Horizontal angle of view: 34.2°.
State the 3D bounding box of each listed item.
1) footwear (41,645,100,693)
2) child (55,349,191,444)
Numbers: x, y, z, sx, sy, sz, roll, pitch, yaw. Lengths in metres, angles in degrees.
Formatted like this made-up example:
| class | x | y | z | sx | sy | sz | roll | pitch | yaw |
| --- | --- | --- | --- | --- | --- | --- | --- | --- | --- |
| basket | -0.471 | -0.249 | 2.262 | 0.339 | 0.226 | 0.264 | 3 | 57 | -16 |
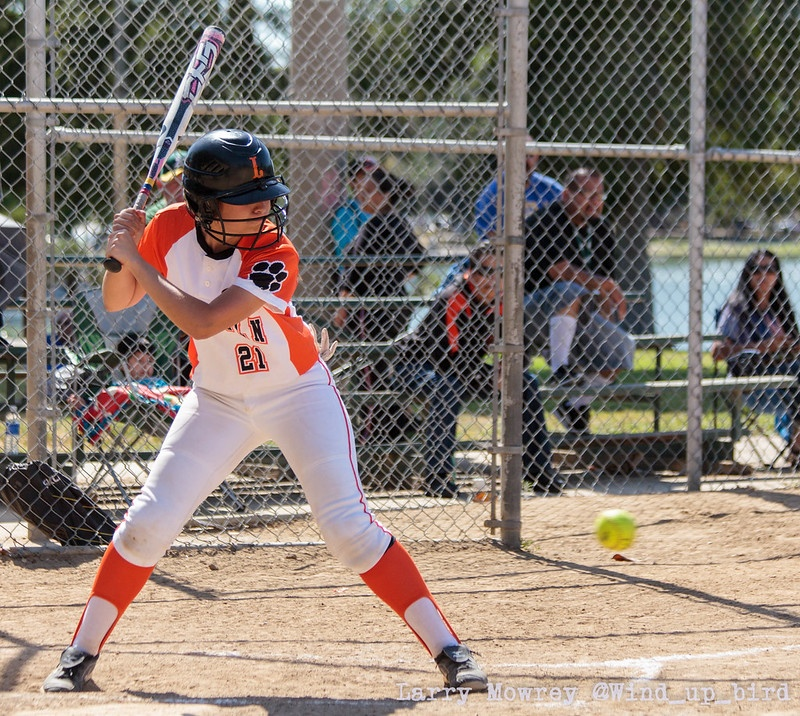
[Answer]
| class | x | y | z | sx | sy | sz | roll | pitch | yaw |
| --- | --- | --- | --- | --- | --- | --- | --- | --- | --- |
| footwear | -1.179 | 1.104 | 4.627 | 0.170 | 0.156 | 0.082 | -11 | 17 | -39 |
| child | -1.400 | 0.253 | 6.947 | 0.440 | 0.495 | 0.480 | -23 | -41 | -3 |
